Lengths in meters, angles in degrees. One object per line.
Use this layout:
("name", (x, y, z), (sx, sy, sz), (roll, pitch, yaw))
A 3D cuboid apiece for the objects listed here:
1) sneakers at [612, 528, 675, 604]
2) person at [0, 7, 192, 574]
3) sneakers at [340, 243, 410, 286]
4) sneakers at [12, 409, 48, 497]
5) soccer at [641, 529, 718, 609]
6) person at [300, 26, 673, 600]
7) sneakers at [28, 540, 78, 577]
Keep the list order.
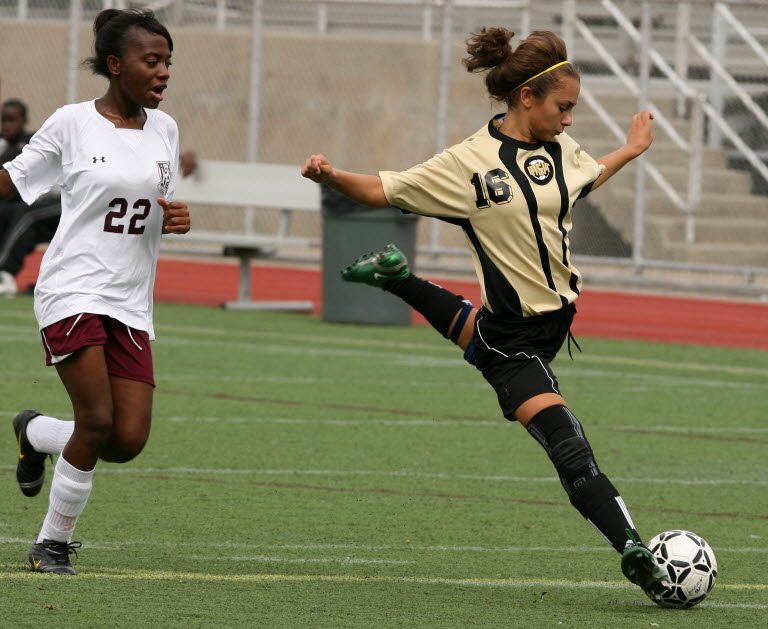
("sneakers", (1.092, 1.054, 6.067), (0.142, 0.292, 0.155), (-33, 27, -11))
("person", (-1.273, -0.106, 6.353), (0.776, 2.449, 0.511), (-4, 13, -28))
("sneakers", (-0.052, -0.240, 7.157), (0.351, 0.145, 0.238), (-7, 18, 14))
("sneakers", (-1.678, 0.663, 6.888), (0.217, 0.421, 0.157), (6, 16, 21))
("soccer", (1.280, 1.102, 6.272), (0.343, 0.332, 0.309), (5, -16, 7))
("person", (0.508, -0.094, 6.381), (1.605, 2.323, 0.958), (5, 11, 14))
("sneakers", (-1.428, 1.075, 6.359), (0.300, 0.125, 0.106), (2, -5, 39))
